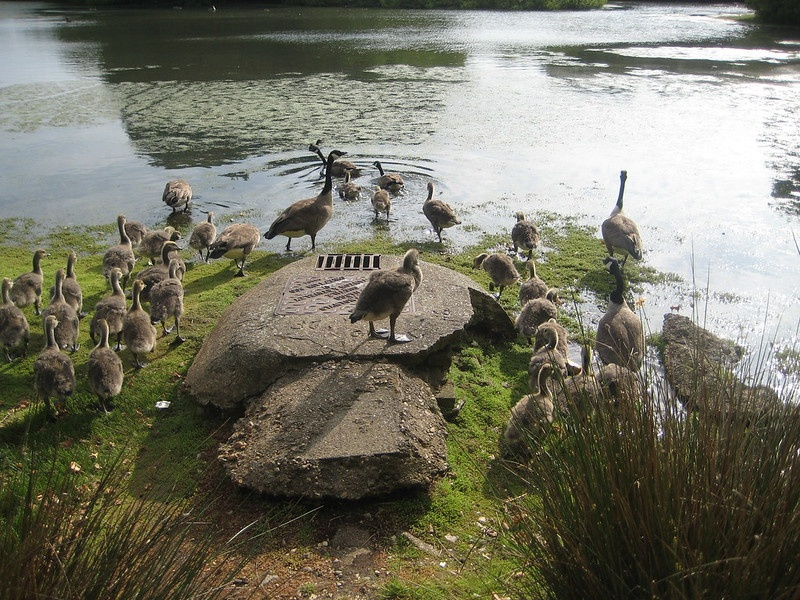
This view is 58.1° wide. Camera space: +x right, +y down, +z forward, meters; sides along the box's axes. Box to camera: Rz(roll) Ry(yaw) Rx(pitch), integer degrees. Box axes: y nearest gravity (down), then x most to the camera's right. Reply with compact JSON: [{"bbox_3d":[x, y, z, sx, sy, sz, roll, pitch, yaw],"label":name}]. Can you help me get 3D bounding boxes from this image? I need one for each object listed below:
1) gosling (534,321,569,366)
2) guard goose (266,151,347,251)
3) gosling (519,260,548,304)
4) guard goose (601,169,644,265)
[{"bbox_3d":[2.702,0.609,12.794,0.503,0.562,0.834,-3,56,7],"label":"gosling"},{"bbox_3d":[-2.253,-2.375,17.384,2.210,2.439,0.913,-8,21,-37],"label":"guard goose"},{"bbox_3d":[2.784,-0.385,14.908,0.383,0.706,1.204,-5,33,19],"label":"gosling"},{"bbox_3d":[5.429,-1.928,16.823,0.991,2.082,1.051,1,19,-7],"label":"guard goose"}]
